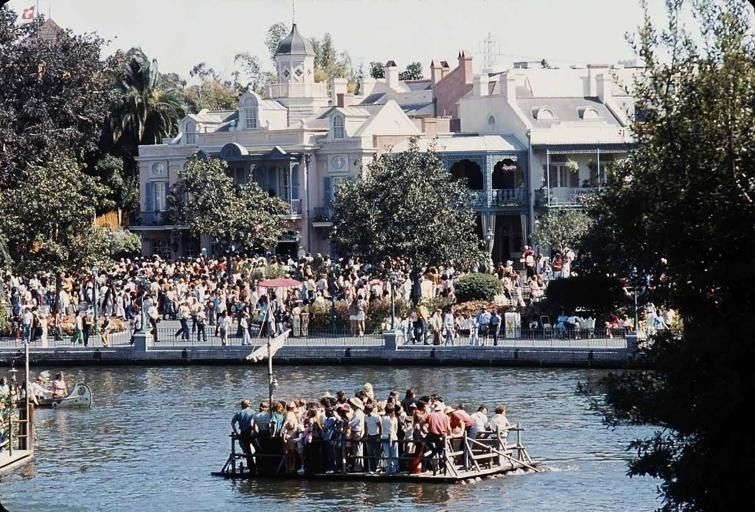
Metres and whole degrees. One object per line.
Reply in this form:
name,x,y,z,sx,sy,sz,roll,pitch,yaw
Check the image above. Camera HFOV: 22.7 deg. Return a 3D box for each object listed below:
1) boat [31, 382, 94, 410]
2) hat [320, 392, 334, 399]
boat,-10.948,4.985,65.510,2.256,1.004,0.887,-1,-2,6
hat,-1.660,4.631,61.519,0.475,0.231,0.549,-1,-8,-3
